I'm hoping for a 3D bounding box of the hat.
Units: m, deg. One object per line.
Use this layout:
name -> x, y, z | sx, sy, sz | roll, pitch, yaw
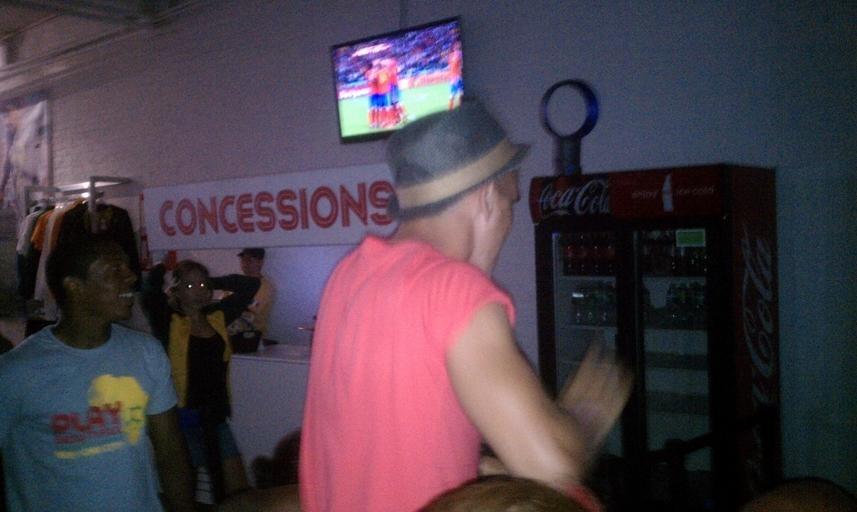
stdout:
hat -> 0.087, -0.457, 3.401 | 0.705, 0.359, 0.493 | -21, 33, 7
